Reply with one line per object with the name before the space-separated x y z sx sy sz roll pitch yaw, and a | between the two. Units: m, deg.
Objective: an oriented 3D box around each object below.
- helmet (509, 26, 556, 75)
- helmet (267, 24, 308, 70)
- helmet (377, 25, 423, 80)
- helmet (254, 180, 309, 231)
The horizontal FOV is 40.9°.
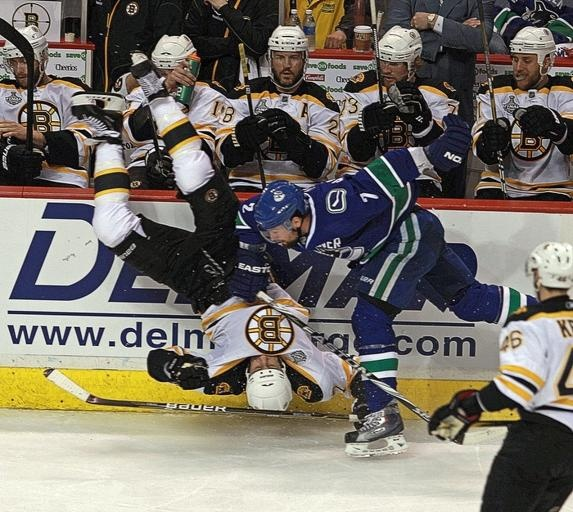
helmet | 1.713 -1.480 5.420 0.367 0.234 0.245 0 8 -11
helmet | 0.025 -1.398 4.966 0.229 0.187 0.231 1 16 2
helmet | 0.805 -1.382 5.252 0.295 0.316 0.336 26 60 28
helmet | -0.026 -0.235 3.735 0.222 0.230 0.130 3 9 5
